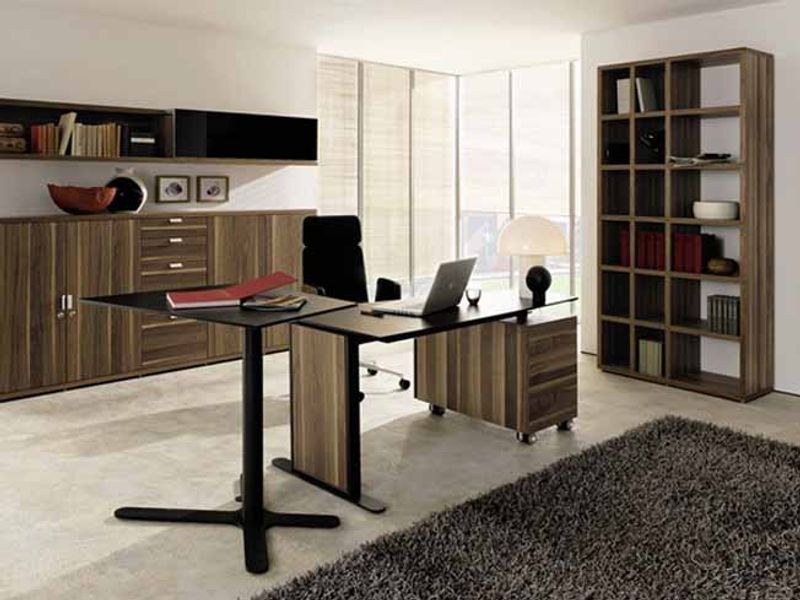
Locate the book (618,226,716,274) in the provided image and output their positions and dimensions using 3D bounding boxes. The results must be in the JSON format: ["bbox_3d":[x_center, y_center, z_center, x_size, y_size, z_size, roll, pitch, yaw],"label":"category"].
[{"bbox_3d":[2.279,-0.448,5.371,0.742,0.335,0.361,9,15,43],"label":"book"}]

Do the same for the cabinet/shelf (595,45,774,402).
[{"bbox_3d":[2.425,-0.654,5.301,0.768,2.683,1.468,-11,16,-39],"label":"cabinet/shelf"}]

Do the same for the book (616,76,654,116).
[{"bbox_3d":[2.008,-1.734,5.327,0.398,0.322,0.286,-10,15,-40],"label":"book"}]

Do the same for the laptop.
[{"bbox_3d":[0.137,-0.165,3.792,0.451,0.264,0.526,3,8,32],"label":"laptop"}]

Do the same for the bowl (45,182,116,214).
[{"bbox_3d":[-2.668,-0.857,5.280,0.510,0.253,0.233,-5,12,-22],"label":"bowl"}]

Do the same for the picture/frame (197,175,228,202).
[{"bbox_3d":[-1.862,-1.107,6.152,0.324,0.232,0.037,-3,5,-44],"label":"picture/frame"}]

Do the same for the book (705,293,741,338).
[{"bbox_3d":[2.575,0.096,5.024,0.301,0.332,0.381,3,8,32],"label":"book"}]

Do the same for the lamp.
[{"bbox_3d":[0.888,-0.329,4.480,0.629,0.618,0.568,0,9,-4],"label":"lamp"}]

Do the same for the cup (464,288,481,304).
[{"bbox_3d":[0.485,-0.031,4.068,0.115,0.073,0.102,3,8,28],"label":"cup"}]
